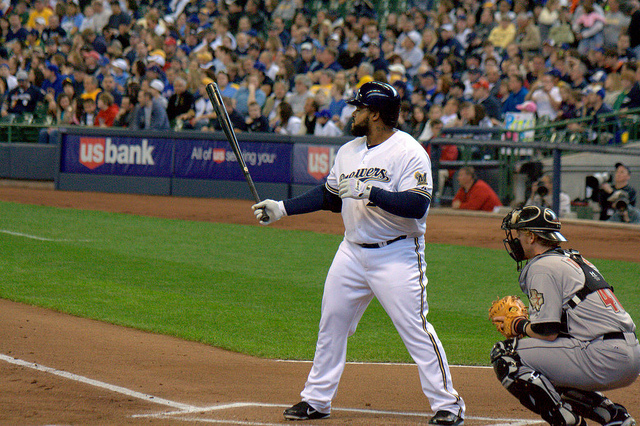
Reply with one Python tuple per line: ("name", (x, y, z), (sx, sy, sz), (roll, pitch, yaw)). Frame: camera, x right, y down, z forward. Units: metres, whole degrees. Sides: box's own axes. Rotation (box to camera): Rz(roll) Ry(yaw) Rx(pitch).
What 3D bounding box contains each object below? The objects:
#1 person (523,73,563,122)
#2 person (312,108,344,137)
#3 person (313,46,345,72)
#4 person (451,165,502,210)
("person", (5.028, -2.569, 26.590), (0.626, 1.058, 0.647), (0, 3, -11))
("person", (0.135, -2.062, 27.321), (0.393, 0.845, 0.674), (5, -10, -41))
("person", (0.178, -3.861, 29.960), (1.042, 0.607, 0.491), (9, 13, 32))
("person", (3.375, -0.505, 25.962), (1.148, 0.819, 0.799), (-3, 2, -2))
